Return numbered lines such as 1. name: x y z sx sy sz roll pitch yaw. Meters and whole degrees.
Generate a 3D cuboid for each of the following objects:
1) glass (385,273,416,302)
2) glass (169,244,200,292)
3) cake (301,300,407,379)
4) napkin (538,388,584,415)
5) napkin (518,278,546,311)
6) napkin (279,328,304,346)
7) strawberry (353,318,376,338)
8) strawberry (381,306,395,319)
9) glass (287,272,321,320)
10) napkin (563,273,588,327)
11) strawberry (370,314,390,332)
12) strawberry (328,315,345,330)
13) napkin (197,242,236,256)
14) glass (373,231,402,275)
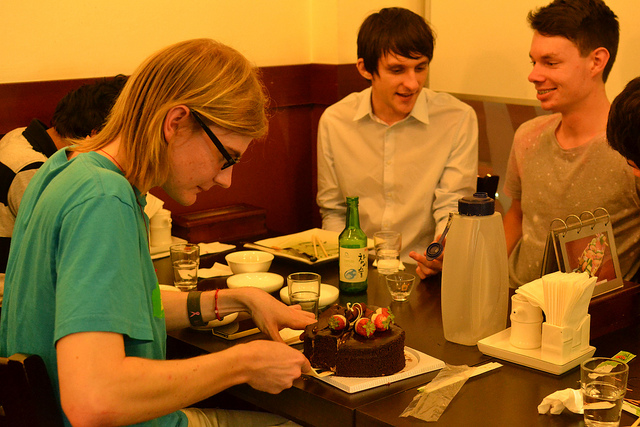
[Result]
1. glass: 0.334 0.319 1.992 0.130 0.096 0.131 9 -21 -15
2. glass: -0.599 0.248 2.154 0.132 0.196 0.133 -1 1 40
3. cake: 0.106 0.395 1.516 0.243 0.123 0.243 3 11 23
4. napkin: 0.657 0.523 1.306 0.086 0.027 0.096 25 4 20
5. napkin: 0.697 0.254 1.577 0.074 0.087 0.126 -3 5 23
6. napkin: -0.101 0.429 1.686 0.082 0.036 0.104 -5 4 -4
7. strawberry: 0.138 0.359 1.521 0.074 0.056 0.047 -4 5 13
8. strawberry: 0.228 0.328 1.571 0.037 0.018 0.045 5 8 -2
9. glass: -0.058 0.340 1.836 0.135 0.209 0.131 0 -5 -36
10. napkin: 0.790 0.278 1.490 0.084 0.135 0.029 -8 6 -30
11. strawberry: 0.192 0.343 1.520 0.059 0.047 0.045 25 10 30
12. strawberry: 0.051 0.348 1.520 0.049 0.041 0.044 -8 14 0
13. napkin: -0.554 0.183 2.576 0.195 0.042 0.169 -6 4 -18
14. glass: 0.311 0.192 2.267 0.160 0.192 0.164 -2 2 0
